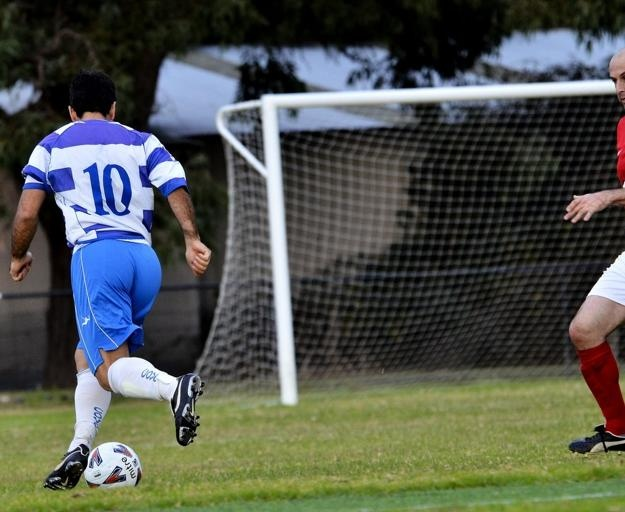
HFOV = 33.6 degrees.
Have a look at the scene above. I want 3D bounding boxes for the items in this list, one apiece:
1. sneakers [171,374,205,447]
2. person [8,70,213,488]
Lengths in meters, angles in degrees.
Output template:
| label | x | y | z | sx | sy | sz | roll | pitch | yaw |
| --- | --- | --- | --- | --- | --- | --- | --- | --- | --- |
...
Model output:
| label | x | y | z | sx | sy | sz | roll | pitch | yaw |
| --- | --- | --- | --- | --- | --- | --- | --- | --- | --- |
| sneakers | -0.785 | 0.979 | 6.631 | 0.257 | 0.458 | 0.182 | -13 | -12 | 30 |
| person | -1.336 | 0.191 | 6.877 | 1.140 | 2.693 | 1.403 | -4 | 19 | -25 |
